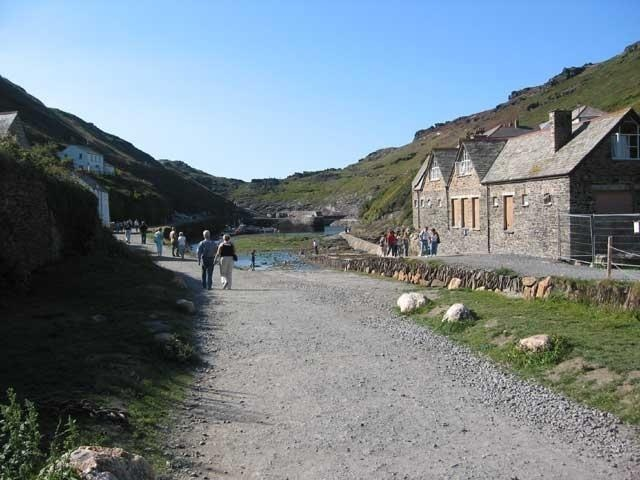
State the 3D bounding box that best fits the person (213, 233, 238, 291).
[{"bbox_3d":[-3.572,0.783,19.346,0.744,2.197,0.790,1,8,-11],"label":"person"}]
